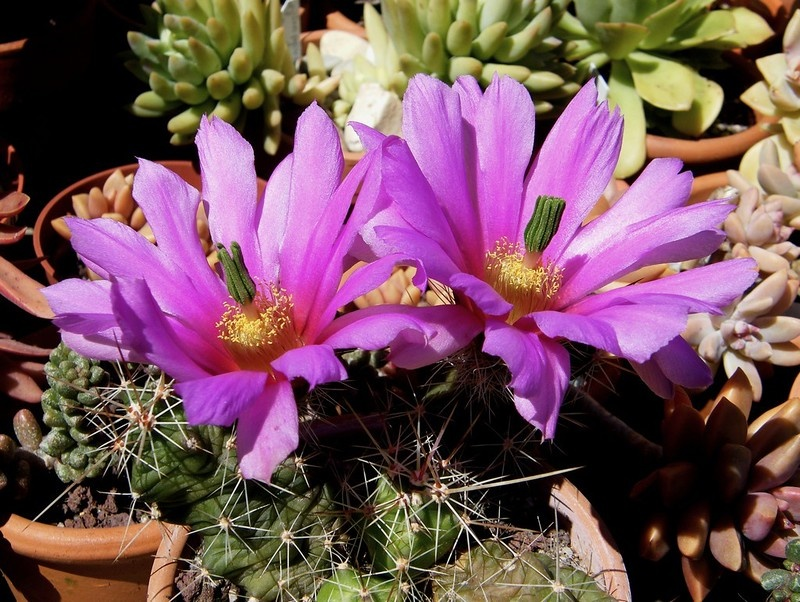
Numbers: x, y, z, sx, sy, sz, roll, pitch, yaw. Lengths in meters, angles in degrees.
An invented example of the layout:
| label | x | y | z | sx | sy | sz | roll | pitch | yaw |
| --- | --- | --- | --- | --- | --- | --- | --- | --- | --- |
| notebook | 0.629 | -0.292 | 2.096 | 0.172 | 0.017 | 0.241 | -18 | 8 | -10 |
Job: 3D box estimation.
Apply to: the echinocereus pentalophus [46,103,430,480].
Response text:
| label | x | y | z | sx | sy | sz | roll | pitch | yaw |
| --- | --- | --- | --- | --- | --- | --- | --- | --- | --- |
| echinocereus pentalophus | -0.252 | 0.013 | 1.210 | 0.514 | 0.434 | 0.532 | -30 | 55 | -29 |

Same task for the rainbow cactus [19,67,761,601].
| label | x | y | z | sx | sy | sz | roll | pitch | yaw |
| --- | --- | --- | --- | --- | --- | --- | --- | --- | --- |
| rainbow cactus | -0.014 | 0.101 | 1.365 | 0.965 | 0.424 | 1.060 | 4 | 80 | 7 |
